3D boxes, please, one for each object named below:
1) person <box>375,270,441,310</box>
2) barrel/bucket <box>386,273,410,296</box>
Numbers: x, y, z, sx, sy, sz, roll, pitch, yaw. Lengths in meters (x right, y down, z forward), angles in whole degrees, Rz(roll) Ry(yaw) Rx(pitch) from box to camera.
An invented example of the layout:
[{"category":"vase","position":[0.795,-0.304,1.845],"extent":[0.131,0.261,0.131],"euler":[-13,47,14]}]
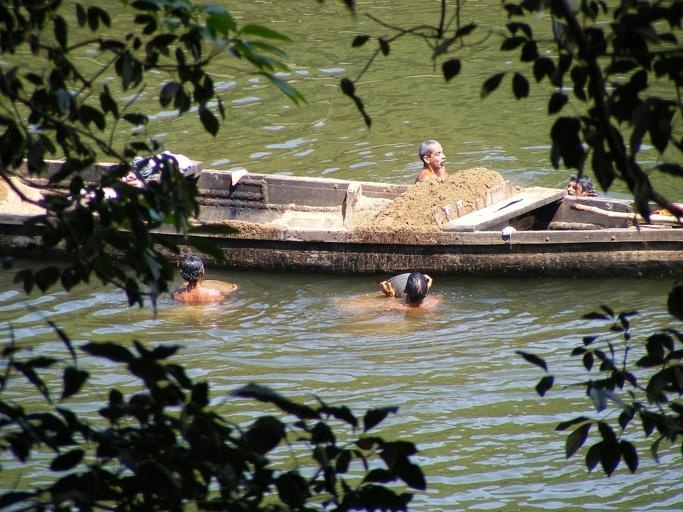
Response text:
[{"category":"person","position":[0.739,0.373,16.161],"extent":[0.718,0.301,0.787],"euler":[1,15,-9]},{"category":"barrel/bucket","position":[0.678,0.336,16.119],"extent":[0.280,0.147,0.279],"euler":[-18,-8,-3]}]
